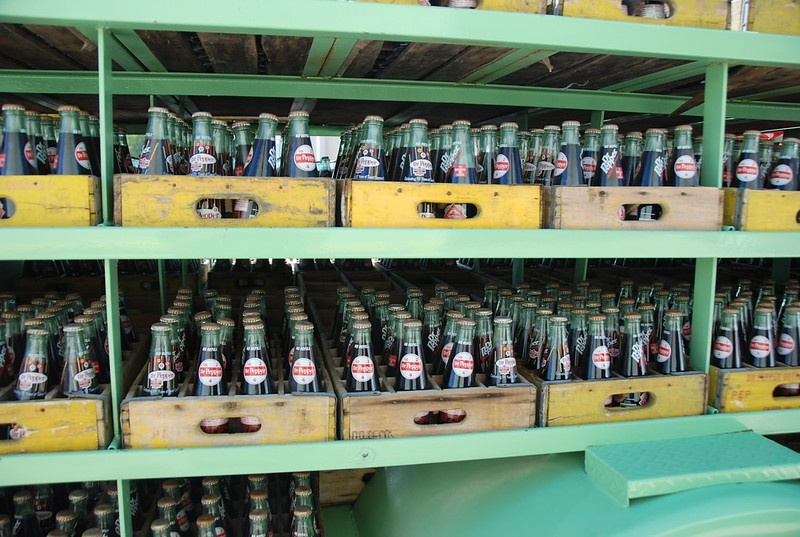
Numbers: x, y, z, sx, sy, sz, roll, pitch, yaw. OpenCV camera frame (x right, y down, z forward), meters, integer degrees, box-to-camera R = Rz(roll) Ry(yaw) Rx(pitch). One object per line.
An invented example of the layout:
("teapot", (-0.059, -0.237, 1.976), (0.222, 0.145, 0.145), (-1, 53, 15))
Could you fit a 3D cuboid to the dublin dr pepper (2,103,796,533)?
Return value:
("dublin dr pepper", (0.020, 0.087, 2.012), (2.448, 1.008, 0.926), (2, -48, -5))
